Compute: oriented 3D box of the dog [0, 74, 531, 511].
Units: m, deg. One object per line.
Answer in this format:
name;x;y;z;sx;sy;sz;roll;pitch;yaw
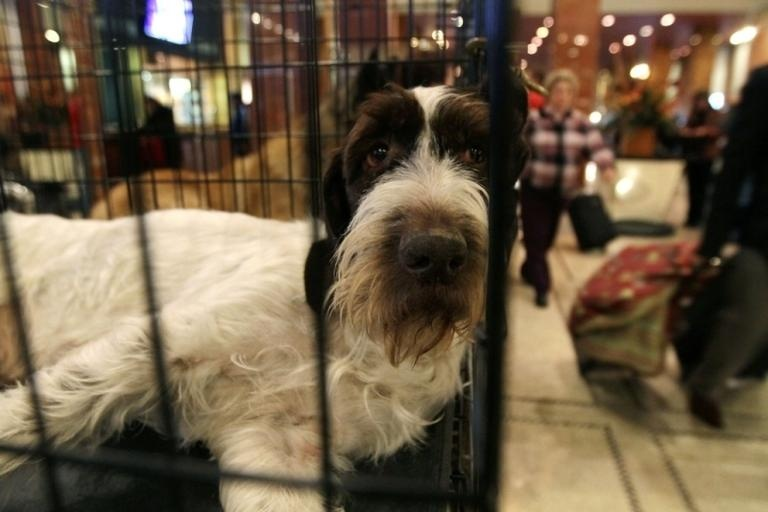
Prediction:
dog;-0.530;0.095;2.925;2.076;1.605;1.073;6;18;12
